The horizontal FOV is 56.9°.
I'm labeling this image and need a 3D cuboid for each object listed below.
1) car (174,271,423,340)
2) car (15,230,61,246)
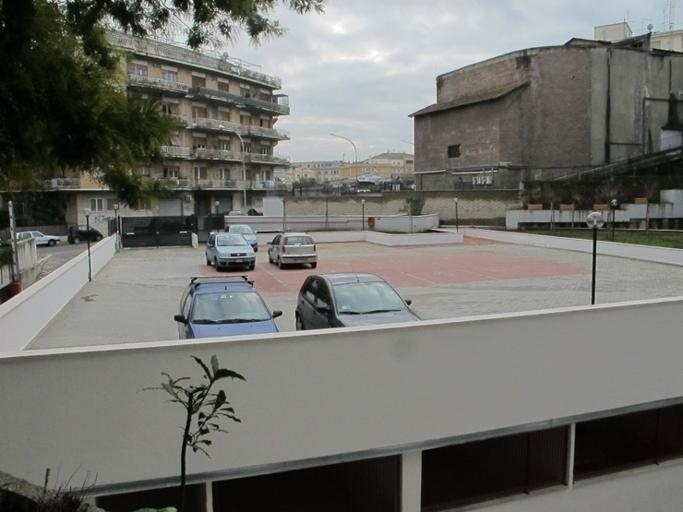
[{"bbox_3d":[-1.203,1.291,14.669,5.083,1.469,2.848,-1,7,-7],"label":"car"},{"bbox_3d":[-22.248,-1.258,46.364,1.615,1.352,6.562,-2,7,-15],"label":"car"}]
